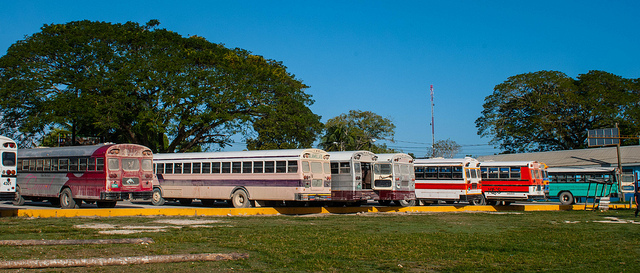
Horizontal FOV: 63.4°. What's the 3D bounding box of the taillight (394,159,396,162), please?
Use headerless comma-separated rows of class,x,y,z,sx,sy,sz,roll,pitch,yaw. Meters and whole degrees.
taillight,7.290,2.374,50.275,0.345,0.252,0.213,1,1,3

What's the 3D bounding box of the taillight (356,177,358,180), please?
taillight,3.536,4.057,49.364,0.319,0.229,0.144,-2,6,-1

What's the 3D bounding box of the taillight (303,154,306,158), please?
taillight,-1.422,1.815,47.827,0.274,0.352,0.036,5,-11,-31

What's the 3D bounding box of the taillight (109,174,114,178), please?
taillight,-18.524,3.532,46.062,0.370,0.335,0.048,2,-10,-17

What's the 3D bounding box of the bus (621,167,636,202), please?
bus,37.584,5.717,62.852,1.542,4.504,7.416,-7,-11,31

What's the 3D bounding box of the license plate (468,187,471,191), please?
license plate,15.232,5.403,52.861,0.369,0.248,0.187,3,-10,-9

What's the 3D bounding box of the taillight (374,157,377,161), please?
taillight,5.426,2.215,50.231,0.270,0.363,0.054,3,-10,-21

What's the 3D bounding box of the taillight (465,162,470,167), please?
taillight,15.097,2.900,52.991,0.385,0.423,0.127,5,2,-12

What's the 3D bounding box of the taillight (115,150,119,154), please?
taillight,-18.169,1.401,46.457,0.265,0.287,0.060,5,-11,-33

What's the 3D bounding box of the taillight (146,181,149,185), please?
taillight,-15.745,4.235,47.152,0.446,0.323,0.093,2,-5,-13

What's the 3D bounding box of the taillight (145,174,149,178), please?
taillight,-15.756,3.618,47.193,0.333,0.345,0.075,5,-12,-34

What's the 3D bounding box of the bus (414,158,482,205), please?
bus,13.139,4.530,53.123,7.481,3.030,2.781,-3,-10,26

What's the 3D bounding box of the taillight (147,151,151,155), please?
taillight,-15.741,1.575,47.541,0.389,0.290,0.095,3,-8,-17

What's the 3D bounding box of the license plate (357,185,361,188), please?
license plate,3.751,4.847,49.364,0.370,0.281,0.179,3,-1,-6

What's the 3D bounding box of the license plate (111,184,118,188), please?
license plate,-18.283,4.426,46.100,0.525,0.334,0.120,5,-11,-33

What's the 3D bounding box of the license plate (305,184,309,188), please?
license plate,-1.174,4.624,47.647,0.363,0.183,0.173,-1,3,-2
